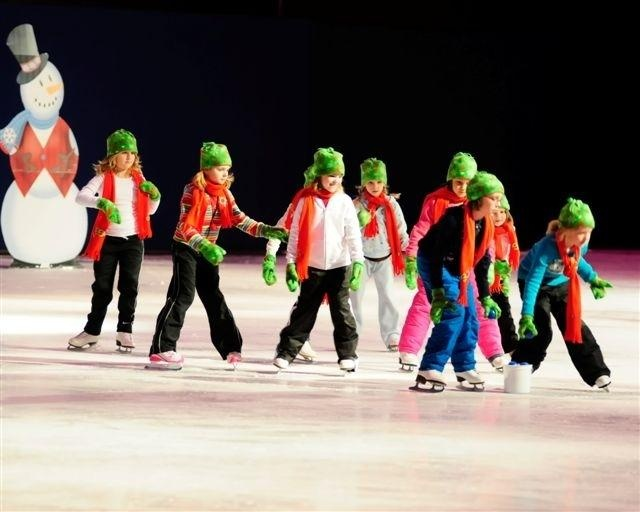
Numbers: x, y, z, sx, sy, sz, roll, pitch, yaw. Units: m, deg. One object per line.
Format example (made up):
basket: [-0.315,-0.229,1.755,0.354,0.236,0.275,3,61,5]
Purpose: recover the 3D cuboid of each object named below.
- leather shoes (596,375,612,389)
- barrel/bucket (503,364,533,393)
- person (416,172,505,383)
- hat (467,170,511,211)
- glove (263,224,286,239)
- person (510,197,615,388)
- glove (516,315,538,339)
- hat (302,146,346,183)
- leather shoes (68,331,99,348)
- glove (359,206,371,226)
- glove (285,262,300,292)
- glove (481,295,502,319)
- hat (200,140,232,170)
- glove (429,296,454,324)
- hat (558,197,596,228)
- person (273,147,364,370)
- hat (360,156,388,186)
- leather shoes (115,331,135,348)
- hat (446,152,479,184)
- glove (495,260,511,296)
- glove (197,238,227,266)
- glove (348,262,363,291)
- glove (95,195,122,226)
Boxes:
leather shoes: [1.527,0.662,3.725,0.052,0.059,0.142,-2,6,19]
barrel/bucket: [1.077,0.636,3.693,0.213,0.151,0.109,-3,5,-40]
person: [0.723,0.141,3.635,0.445,1.148,0.382,0,4,-4]
hat: [0.856,-0.349,3.548,0.159,0.142,0.163,7,10,27]
glove: [-0.278,-0.155,4.290,0.138,0.057,0.079,8,-3,-2]
person: [1.316,0.201,3.759,0.521,1.018,0.615,2,4,20]
glove: [1.082,0.394,3.623,0.121,0.161,0.065,-3,8,3]
hat: [0.043,-0.545,4.255,0.207,0.200,0.324,-4,-1,-30]
leather shoes: [-1.603,0.565,4.749,0.085,0.111,0.221,5,0,37]
glove: [0.308,-0.286,4.840,0.089,0.105,0.058,1,1,-27]
glove: [-0.174,0.124,4.025,0.052,0.144,0.096,-3,1,40]
glove: [0.921,0.274,3.740,0.059,0.146,0.109,-39,1,25]
hat: [-0.634,-0.611,4.217,0.187,0.158,0.173,5,11,26]
glove: [0.622,0.277,3.521,0.116,0.143,0.114,1,4,9]
hat: [1.355,-0.220,3.639,0.144,0.170,0.189,-2,18,-15]
person: [-0.005,0.023,4.095,0.504,1.313,0.312,0,4,1]
hat: [0.394,-0.611,4.984,0.180,0.184,0.195,-2,0,-5]
leather shoes: [-1.307,0.567,4.701,0.068,0.100,0.194,2,-5,-36]
hat: [0.888,-0.544,4.281,0.215,0.200,0.188,-6,19,-23]
glove: [1.084,0.123,4.132,0.097,0.192,0.146,9,26,2]
glove: [-0.604,-0.022,3.923,0.181,0.118,0.094,36,6,22]
glove: [0.211,0.115,4.068,0.057,0.141,0.114,10,-2,2]
glove: [-1.388,-0.292,4.434,0.056,0.123,0.206,-20,-43,30]
